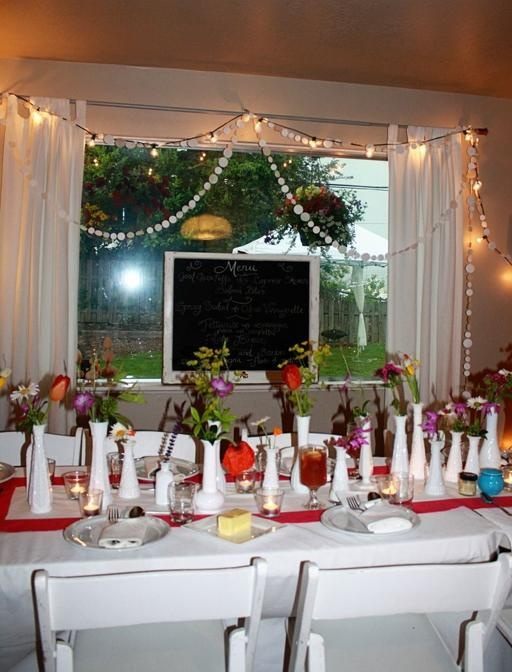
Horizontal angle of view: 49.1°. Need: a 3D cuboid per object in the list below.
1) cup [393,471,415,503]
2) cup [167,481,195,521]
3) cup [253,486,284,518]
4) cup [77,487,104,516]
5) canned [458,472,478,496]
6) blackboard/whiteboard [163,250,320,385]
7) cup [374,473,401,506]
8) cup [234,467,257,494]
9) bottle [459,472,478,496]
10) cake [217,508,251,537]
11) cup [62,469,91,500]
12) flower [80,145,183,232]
[{"bbox_3d":[0.402,0.426,1.579,0.076,0.077,0.070,0,-2,0],"label":"cup"},{"bbox_3d":[-0.185,0.418,1.399,0.059,0.084,0.092,-2,-5,36],"label":"cup"},{"bbox_3d":[0.034,0.427,1.435,0.072,0.050,0.073,1,-9,0],"label":"cup"},{"bbox_3d":[-0.409,0.412,1.402,0.059,0.063,0.062,2,-5,0],"label":"cup"},{"bbox_3d":[0.621,0.437,1.646,0.061,0.059,0.065,1,2,36],"label":"canned"},{"bbox_3d":[-0.124,-0.110,3.120,0.854,0.677,0.058,-1,2,-10],"label":"blackboard/whiteboard"},{"bbox_3d":[0.358,0.434,1.561,0.049,0.071,0.073,0,5,4],"label":"cup"},{"bbox_3d":[-0.028,0.424,1.648,0.070,0.061,0.067,1,-2,0],"label":"cup"},{"bbox_3d":[0.623,0.438,1.646,0.062,0.058,0.063,0,3,15],"label":"bottle"},{"bbox_3d":[-0.049,0.432,1.289,0.048,0.058,0.091,-6,-7,44],"label":"cake"},{"bbox_3d":[-0.479,0.395,1.517,0.084,0.069,0.087,2,-3,0],"label":"cup"},{"bbox_3d":[-0.770,-0.818,3.350,0.499,0.473,0.220,5,0,-11],"label":"flower"}]
